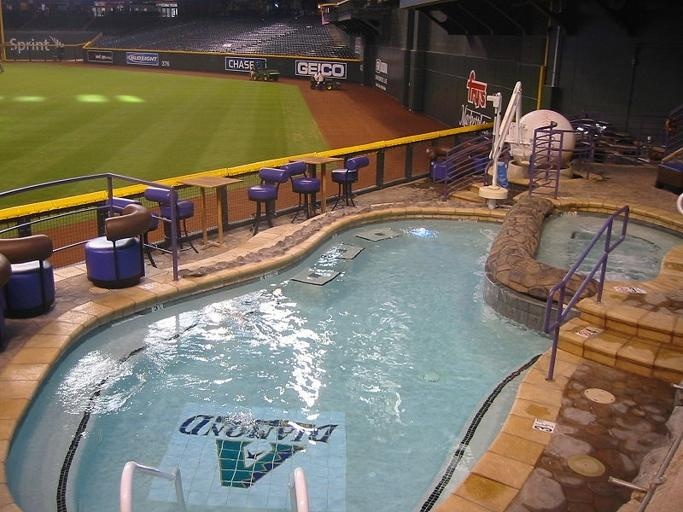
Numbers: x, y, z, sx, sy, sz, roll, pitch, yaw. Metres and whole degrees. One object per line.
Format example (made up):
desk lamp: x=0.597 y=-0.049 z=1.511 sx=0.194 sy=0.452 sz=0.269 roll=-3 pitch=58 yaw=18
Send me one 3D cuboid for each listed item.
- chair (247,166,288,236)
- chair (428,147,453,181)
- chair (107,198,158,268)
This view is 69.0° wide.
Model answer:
chair: x=-1.716 y=-1.355 z=11.764 sx=0.930 sy=1.491 sz=1.111 roll=-3 pitch=24 yaw=-8
chair: x=2.891 y=-2.674 z=14.693 sx=0.693 sy=1.106 sz=1.537 roll=4 pitch=22 yaw=8
chair: x=-3.421 y=-0.385 z=8.127 sx=0.983 sy=1.017 sz=1.078 roll=-8 pitch=35 yaw=-24
